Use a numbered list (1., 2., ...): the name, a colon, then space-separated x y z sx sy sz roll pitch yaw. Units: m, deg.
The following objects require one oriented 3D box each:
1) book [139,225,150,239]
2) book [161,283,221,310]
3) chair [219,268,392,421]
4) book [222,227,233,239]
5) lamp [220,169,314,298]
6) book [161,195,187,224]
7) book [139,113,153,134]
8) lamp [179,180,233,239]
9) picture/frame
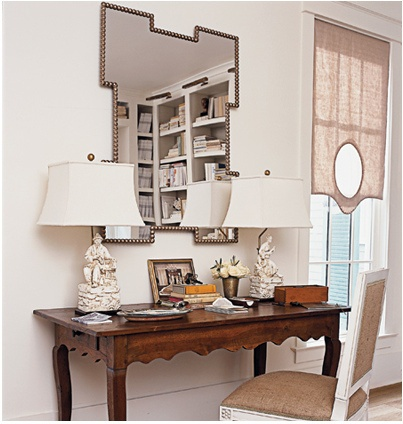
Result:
1. book: -0.320 0.108 2.391 0.084 0.085 0.046 1 -1 -36
2. book: -0.086 0.452 2.357 0.186 0.086 0.174 3 -7 -39
3. chair: 0.577 0.640 2.325 0.742 1.191 0.667 1 -6 30
4. book: 0.173 0.140 2.777 0.068 0.120 0.122 -1 -3 5
5. lamp: 0.412 -0.016 2.458 0.352 0.535 0.370 4 3 41
6. book: -0.164 -0.012 2.490 0.160 0.145 0.036 1 7 -39
7. book: -0.310 -0.495 2.452 0.088 0.161 0.126 0 5 -7
8. lamp: 0.046 -0.038 2.645 0.252 0.272 0.309 4 -2 39
9. picture/frame: -0.179 0.396 2.400 0.252 0.202 0.019 3 -17 -38
